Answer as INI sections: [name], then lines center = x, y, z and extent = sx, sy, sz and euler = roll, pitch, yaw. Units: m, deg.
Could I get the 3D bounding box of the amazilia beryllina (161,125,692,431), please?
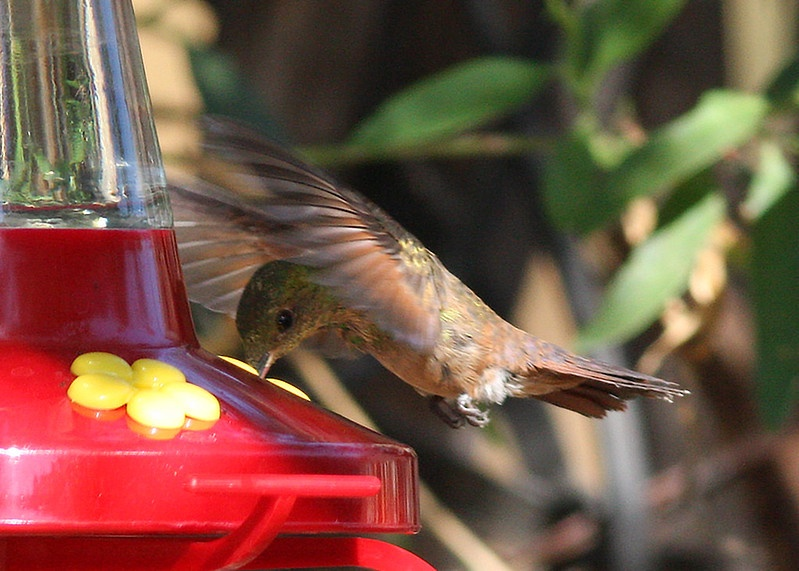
[amazilia beryllina]
center = 0.072, 0.012, 1.575
extent = 0.728, 0.293, 0.332
euler = 12, 9, -9
